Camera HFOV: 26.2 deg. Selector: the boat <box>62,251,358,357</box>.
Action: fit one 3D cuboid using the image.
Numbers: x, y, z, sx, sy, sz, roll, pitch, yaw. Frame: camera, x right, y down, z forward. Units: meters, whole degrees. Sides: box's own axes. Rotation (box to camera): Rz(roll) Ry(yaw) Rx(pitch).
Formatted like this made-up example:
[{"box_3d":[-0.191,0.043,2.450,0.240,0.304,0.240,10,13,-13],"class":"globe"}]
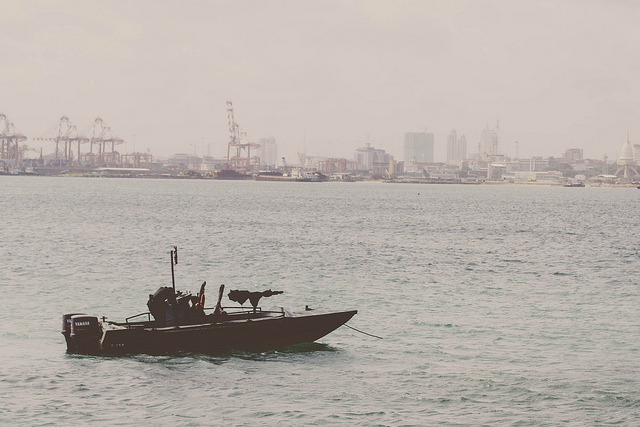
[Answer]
[{"box_3d":[-9.933,8.327,121.349,28.269,8.791,5.932,-5,-2,20],"class":"boat"}]
